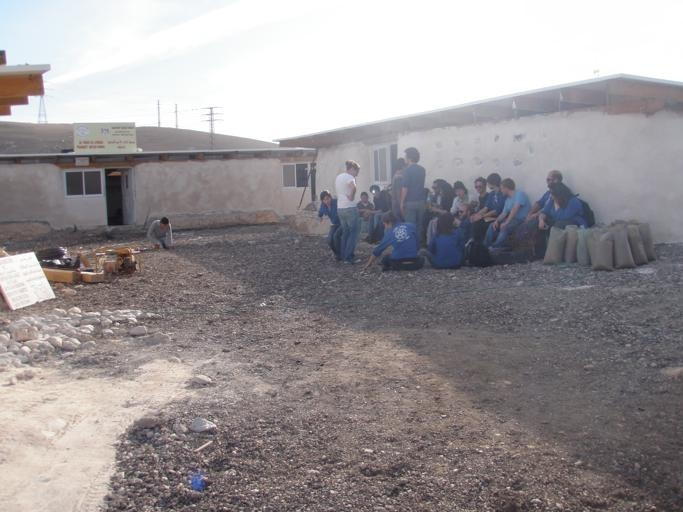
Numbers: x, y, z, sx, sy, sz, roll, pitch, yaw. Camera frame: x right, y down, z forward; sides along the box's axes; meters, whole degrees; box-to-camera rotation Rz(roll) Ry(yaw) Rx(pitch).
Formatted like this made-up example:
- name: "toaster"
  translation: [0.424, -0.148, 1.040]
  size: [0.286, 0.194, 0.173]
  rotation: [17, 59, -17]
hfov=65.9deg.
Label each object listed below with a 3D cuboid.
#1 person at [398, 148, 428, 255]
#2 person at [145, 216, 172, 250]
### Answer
- name: "person"
  translation: [1.191, -1.053, 9.544]
  size: [0.558, 1.841, 0.545]
  rotation: [-23, 32, -38]
- name: "person"
  translation: [-4.029, -0.501, 11.671]
  size: [0.785, 0.704, 0.420]
  rotation: [6, 15, 40]
